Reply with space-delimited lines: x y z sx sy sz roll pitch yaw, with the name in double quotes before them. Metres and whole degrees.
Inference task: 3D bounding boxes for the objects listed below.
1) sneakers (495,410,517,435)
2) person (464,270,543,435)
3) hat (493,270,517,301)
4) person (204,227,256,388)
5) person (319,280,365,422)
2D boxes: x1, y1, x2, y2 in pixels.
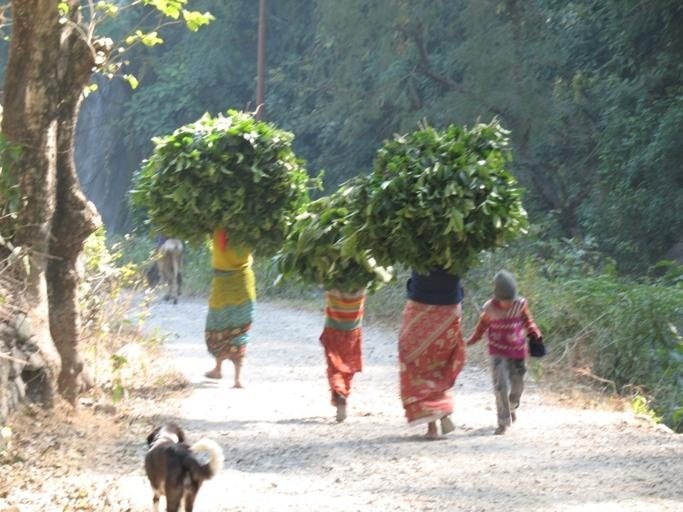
"sneakers" 2.218 2.238 17.957 0.176 0.276 0.566 0 -3 31
"person" 2.181 1.293 17.893 0.869 2.139 0.362 2 -2 -17
"hat" 2.160 0.402 17.850 0.278 0.394 0.359 3 -5 -4
"person" -1.628 0.777 19.387 0.668 2.284 0.423 2 -2 -7
"person" -0.012 1.362 18.421 0.600 1.837 0.372 2 -2 -1
